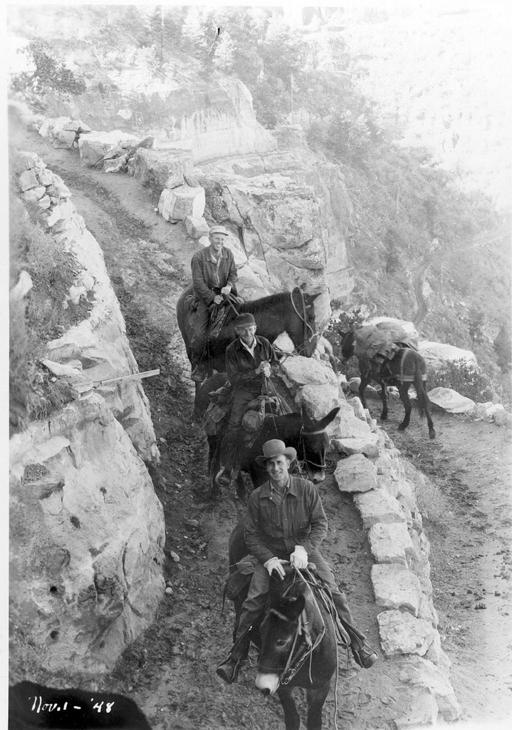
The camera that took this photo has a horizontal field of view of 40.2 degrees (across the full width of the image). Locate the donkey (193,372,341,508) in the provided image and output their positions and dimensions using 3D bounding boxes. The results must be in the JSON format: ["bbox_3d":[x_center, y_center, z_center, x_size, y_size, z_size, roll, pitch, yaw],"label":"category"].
[{"bbox_3d":[-0.062,0.657,5.336,1.320,0.825,0.366,10,1,35],"label":"donkey"}]

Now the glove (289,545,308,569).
[{"bbox_3d":[0.265,1.178,4.288,0.093,0.048,0.119,7,45,-23],"label":"glove"}]
